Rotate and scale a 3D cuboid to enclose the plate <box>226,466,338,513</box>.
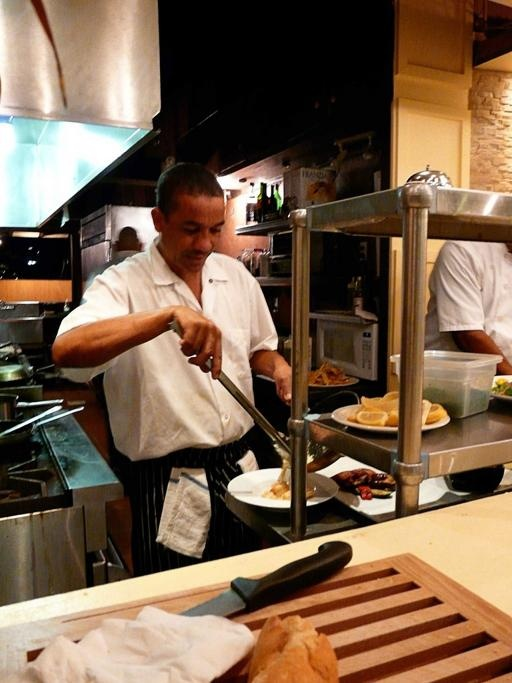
[{"bbox_3d":[0.060,0.344,1.306,0.261,0.033,0.259,2,4,20],"label":"plate"}]

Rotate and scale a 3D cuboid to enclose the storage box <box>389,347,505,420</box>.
[{"bbox_3d":[0.392,0.085,1.147,0.141,0.097,0.168,-5,3,-40],"label":"storage box"}]

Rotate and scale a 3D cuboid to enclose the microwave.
[{"bbox_3d":[0.632,0.029,3.497,0.295,0.322,0.527,-6,10,-34],"label":"microwave"}]

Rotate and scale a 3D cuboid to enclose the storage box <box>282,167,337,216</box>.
[{"bbox_3d":[0.391,-1.085,4.109,0.354,0.272,0.333,-7,13,-32],"label":"storage box"}]
